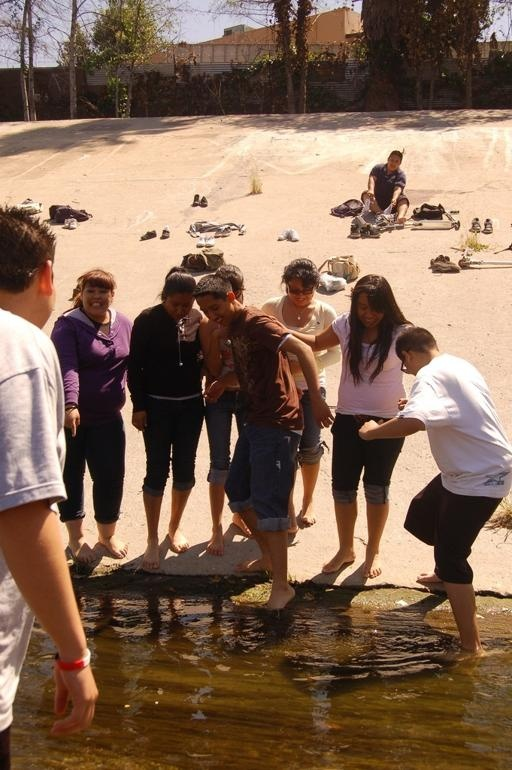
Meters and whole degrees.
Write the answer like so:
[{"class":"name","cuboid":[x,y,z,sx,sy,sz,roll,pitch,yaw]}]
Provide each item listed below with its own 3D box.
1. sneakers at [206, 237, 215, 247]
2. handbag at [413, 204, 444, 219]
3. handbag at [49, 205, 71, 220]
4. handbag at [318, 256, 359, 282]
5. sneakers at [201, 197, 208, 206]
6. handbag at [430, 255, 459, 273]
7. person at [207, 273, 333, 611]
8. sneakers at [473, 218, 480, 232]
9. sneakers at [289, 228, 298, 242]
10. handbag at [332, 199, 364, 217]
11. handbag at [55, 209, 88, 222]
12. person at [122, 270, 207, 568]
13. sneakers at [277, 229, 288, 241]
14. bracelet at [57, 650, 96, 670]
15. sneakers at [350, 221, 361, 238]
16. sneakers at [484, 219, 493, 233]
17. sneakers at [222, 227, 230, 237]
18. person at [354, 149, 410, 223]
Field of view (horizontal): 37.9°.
[{"class":"sneakers","cuboid":[-0.673,-2.153,11.209,0.135,0.178,0.444,-1,4,-2]},{"class":"handbag","cuboid":[2.750,-2.768,11.907,0.473,0.221,0.265,-9,47,22]},{"class":"handbag","cuboid":[-3.361,-2.932,12.810,0.336,0.275,0.273,-2,1,12]},{"class":"handbag","cuboid":[1.100,-1.552,9.726,0.430,0.294,0.418,8,34,18]},{"class":"sneakers","cuboid":[-0.921,-3.286,13.347,0.143,0.068,0.190,1,48,-3]},{"class":"handbag","cuboid":[2.495,-1.605,9.935,0.463,0.199,0.188,10,-5,34]},{"class":"person","cuboid":[0.108,0.307,4.231,0.706,1.838,0.580,2,5,32]},{"class":"sneakers","cuboid":[3.298,-2.383,11.129,0.131,0.221,0.273,1,4,16]},{"class":"sneakers","cuboid":[0.580,-2.254,11.285,0.161,0.231,0.369,0,4,2]},{"class":"handbag","cuboid":[1.580,-2.954,12.430,0.360,0.204,0.526,19,38,37]},{"class":"handbag","cuboid":[-3.148,-2.883,12.655,0.336,0.144,0.405,1,8,-6]},{"class":"person","cuboid":[-0.560,0.221,4.720,0.470,1.884,0.642,-1,5,-5]},{"class":"sneakers","cuboid":[0.434,-2.281,11.253,0.148,0.089,0.194,4,30,29]},{"class":"bracelet","cuboid":[-0.400,0.617,1.655,0.068,0.023,0.068,3,-7,24]},{"class":"sneakers","cuboid":[1.543,-2.364,11.354,0.115,0.144,0.372,3,43,10]},{"class":"sneakers","cuboid":[3.497,-2.372,11.187,0.131,0.231,0.184,1,4,16]},{"class":"sneakers","cuboid":[-0.460,-2.427,11.745,0.115,0.203,0.283,0,4,4]},{"class":"person","cuboid":[2.106,-3.197,12.118,0.731,1.225,0.862,0,4,8]}]
